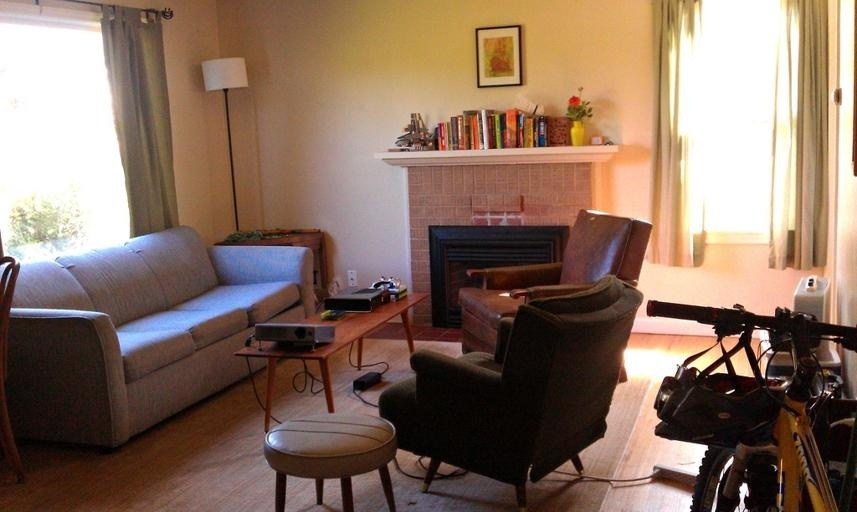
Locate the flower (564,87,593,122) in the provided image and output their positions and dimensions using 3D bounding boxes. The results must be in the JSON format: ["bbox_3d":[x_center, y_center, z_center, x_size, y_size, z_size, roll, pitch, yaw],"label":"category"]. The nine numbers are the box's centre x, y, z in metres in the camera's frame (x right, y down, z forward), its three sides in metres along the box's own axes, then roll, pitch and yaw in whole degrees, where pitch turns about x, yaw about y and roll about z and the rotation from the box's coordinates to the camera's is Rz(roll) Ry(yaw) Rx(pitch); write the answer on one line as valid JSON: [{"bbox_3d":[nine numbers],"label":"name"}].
[{"bbox_3d":[1.368,-1.380,5.762,0.225,0.302,0.218,0,16,11],"label":"flower"}]

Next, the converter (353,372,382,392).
[{"bbox_3d":[-0.472,0.985,4.971,0.109,0.050,0.209,3,5,33],"label":"converter"}]

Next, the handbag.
[{"bbox_3d":[1.236,0.525,2.785,0.550,0.655,0.214,1,17,12],"label":"handbag"}]

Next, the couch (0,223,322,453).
[{"bbox_3d":[-1.998,0.641,4.676,0.808,0.745,1.677,2,7,17],"label":"couch"}]

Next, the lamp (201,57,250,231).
[{"bbox_3d":[-2.004,-1.138,6.585,0.442,1.745,0.378,-8,17,-15],"label":"lamp"}]

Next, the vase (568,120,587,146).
[{"bbox_3d":[1.355,-1.124,5.785,0.130,0.221,0.217,2,15,16],"label":"vase"}]

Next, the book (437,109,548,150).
[{"bbox_3d":[0.584,-1.185,5.938,0.998,0.345,0.138,2,17,16],"label":"book"}]

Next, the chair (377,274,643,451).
[{"bbox_3d":[0.455,0.590,3.812,1.257,0.991,1.011,4,6,41],"label":"chair"}]
